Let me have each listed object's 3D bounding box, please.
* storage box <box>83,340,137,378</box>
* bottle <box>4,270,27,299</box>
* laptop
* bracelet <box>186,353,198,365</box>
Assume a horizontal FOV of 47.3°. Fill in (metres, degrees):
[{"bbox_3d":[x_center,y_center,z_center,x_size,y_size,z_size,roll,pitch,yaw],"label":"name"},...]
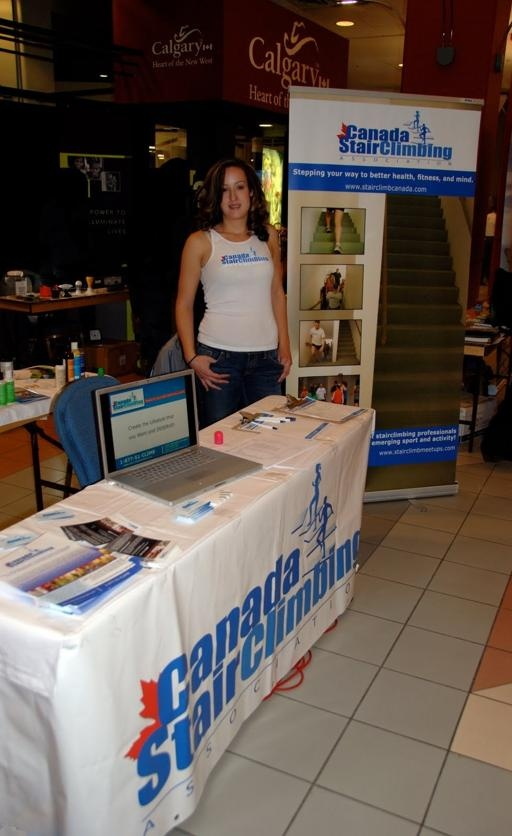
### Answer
[{"bbox_3d":[-1.512,-0.614,5.991,0.294,0.413,0.575,5,12,27],"label":"storage box"},{"bbox_3d":[-2.291,-1.274,5.534,0.208,0.232,0.125,-4,12,-24],"label":"bottle"},{"bbox_3d":[-0.208,-0.034,1.598,0.326,0.327,0.446,14,24,32],"label":"laptop"},{"bbox_3d":[-0.297,-0.265,2.687,0.052,0.046,0.053,-28,17,0],"label":"bracelet"}]
